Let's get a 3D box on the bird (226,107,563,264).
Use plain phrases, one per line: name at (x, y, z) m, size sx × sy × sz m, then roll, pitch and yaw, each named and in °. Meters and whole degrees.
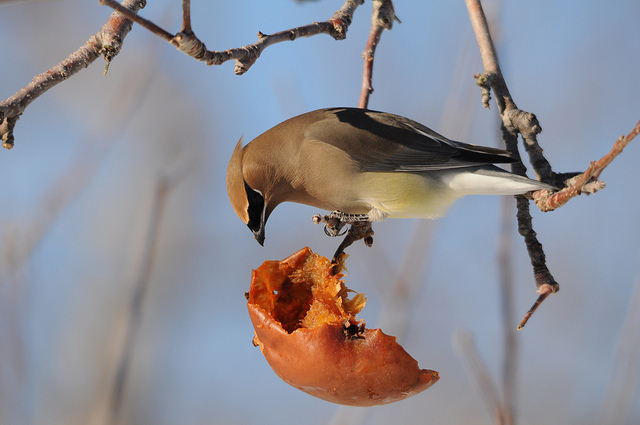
bird at (0.241, -0.167, 3.559) m, size 1.402 × 0.621 × 0.458 m, roll -14°, pitch -10°, yaw -9°
